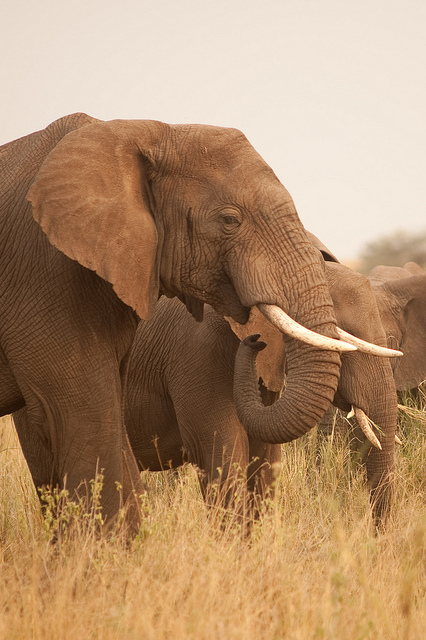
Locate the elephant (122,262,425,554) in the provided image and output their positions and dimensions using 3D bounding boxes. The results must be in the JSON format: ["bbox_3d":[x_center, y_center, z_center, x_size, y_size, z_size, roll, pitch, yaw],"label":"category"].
[{"bbox_3d":[-0.155,0.469,4.110,2.108,1.210,1.309,-9,-11,35],"label":"elephant"}]

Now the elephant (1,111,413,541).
[{"bbox_3d":[-0.476,-0.001,3.165,2.215,1.362,1.125,-5,-5,27],"label":"elephant"}]
